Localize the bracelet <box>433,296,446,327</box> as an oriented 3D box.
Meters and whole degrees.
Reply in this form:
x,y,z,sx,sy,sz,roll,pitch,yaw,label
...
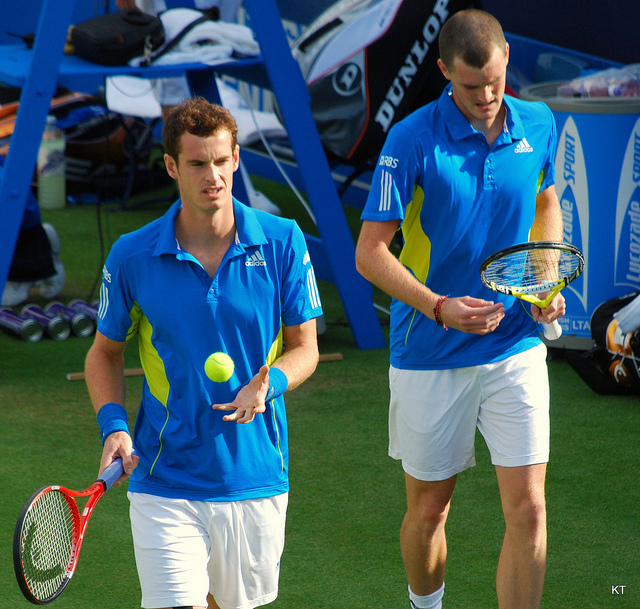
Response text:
x,y,z,sx,sy,sz,roll,pitch,yaw,label
0.405,0.021,3.603,0.033,0.080,0.067,-3,-1,-4,bracelet

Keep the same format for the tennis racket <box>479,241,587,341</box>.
x,y,z,sx,sy,sz,roll,pitch,yaw,label
0.785,-0.038,3.782,0.354,0.116,0.585,-9,-27,19,tennis racket

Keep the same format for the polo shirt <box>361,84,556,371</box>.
x,y,z,sx,sy,sz,roll,pitch,yaw,label
0.523,-0.263,3.797,0.748,1.025,0.445,-2,13,-6,polo shirt

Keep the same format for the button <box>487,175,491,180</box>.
x,y,z,sx,sy,sz,roll,pitch,yaw,label
0.596,-0.455,3.713,0.017,0.018,0.004,-2,0,-10,button

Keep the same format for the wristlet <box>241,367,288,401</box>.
x,y,z,sx,sy,sz,roll,pitch,yaw,label
-0.175,0.240,3.169,0.058,0.062,0.092,49,26,12,wristlet

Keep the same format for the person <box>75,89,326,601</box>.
x,y,z,sx,sy,sz,roll,pitch,yaw,label
-0.383,0.179,3.280,0.766,1.609,0.512,-1,13,-3,person

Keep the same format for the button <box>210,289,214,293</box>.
x,y,z,sx,sy,sz,roll,pitch,yaw,label
-0.339,-0.044,3.238,0.013,0.013,0.004,-2,-2,-11,button

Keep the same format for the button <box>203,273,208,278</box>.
x,y,z,sx,sy,sz,roll,pitch,yaw,label
-0.361,-0.093,3.249,0.014,0.014,0.003,-2,13,-9,button

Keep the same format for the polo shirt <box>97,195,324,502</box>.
x,y,z,sx,sy,sz,roll,pitch,yaw,label
-0.357,0.139,3.332,0.716,0.926,0.369,-2,13,-7,polo shirt
